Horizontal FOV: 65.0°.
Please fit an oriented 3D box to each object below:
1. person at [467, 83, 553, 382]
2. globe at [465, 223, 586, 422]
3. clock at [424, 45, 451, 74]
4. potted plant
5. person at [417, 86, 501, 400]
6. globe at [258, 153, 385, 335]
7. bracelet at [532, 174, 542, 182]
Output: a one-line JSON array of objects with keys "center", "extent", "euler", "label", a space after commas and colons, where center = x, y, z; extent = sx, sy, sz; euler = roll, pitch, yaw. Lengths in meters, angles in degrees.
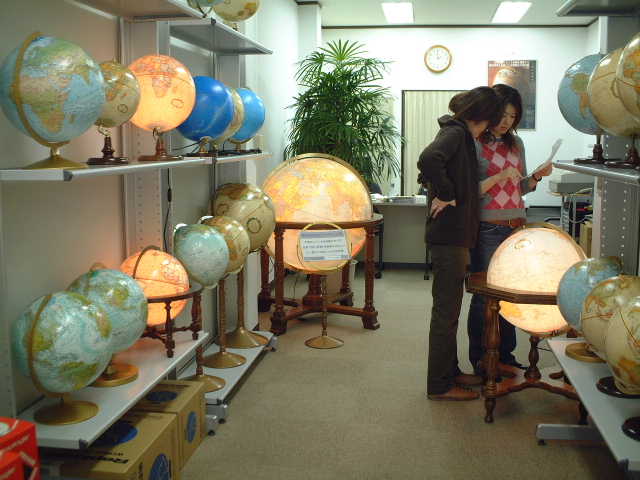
[{"center": [1.192, -0.040, 3.277], "extent": [0.587, 1.849, 0.485], "euler": [-11, 11, -30], "label": "person"}, {"center": [1.219, 0.458, 2.920], "extent": [0.796, 0.987, 0.776], "euler": [-2, -5, 15], "label": "globe"}, {"center": [2.148, -3.311, 9.290], "extent": [0.464, 0.452, 0.461], "euler": [1, 9, 5], "label": "clock"}, {"center": [0.288, -1.415, 5.714], "extent": [1.041, 2.556, 1.544], "euler": [5, 9, 7], "label": "potted plant"}, {"center": [0.819, -0.006, 3.102], "extent": [0.629, 1.903, 0.667], "euler": [-2, -2, 28], "label": "person"}, {"center": [-0.002, 0.024, 4.400], "extent": [1.021, 1.541, 1.134], "euler": [-6, 12, -30], "label": "globe"}, {"center": [1.312, -0.375, 3.041], "extent": [0.039, 0.025, 0.055], "euler": [-2, -3, 36], "label": "bracelet"}]
